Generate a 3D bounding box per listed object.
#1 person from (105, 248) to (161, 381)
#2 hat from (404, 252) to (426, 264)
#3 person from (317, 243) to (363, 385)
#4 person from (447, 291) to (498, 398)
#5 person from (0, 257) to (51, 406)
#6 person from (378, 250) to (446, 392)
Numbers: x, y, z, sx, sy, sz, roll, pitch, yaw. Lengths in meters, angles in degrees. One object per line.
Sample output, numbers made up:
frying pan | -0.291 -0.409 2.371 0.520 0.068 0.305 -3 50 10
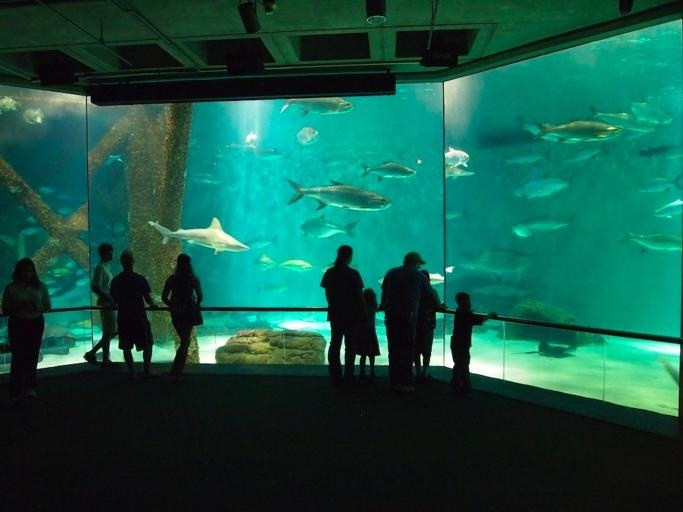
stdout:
person | -4.369 1.184 12.633 0.853 2.575 0.455 0 2 -15
hat | 1.493 0.036 12.310 0.365 0.162 0.249 -2 4 -25
person | 0.004 1.159 12.381 0.842 2.763 0.362 1 2 3
person | 2.494 1.686 12.034 0.702 1.966 0.490 1 2 3
person | -6.196 1.398 11.916 0.815 2.693 0.308 0 3 -27
person | 1.268 1.282 12.103 0.815 2.663 0.450 1 2 3
